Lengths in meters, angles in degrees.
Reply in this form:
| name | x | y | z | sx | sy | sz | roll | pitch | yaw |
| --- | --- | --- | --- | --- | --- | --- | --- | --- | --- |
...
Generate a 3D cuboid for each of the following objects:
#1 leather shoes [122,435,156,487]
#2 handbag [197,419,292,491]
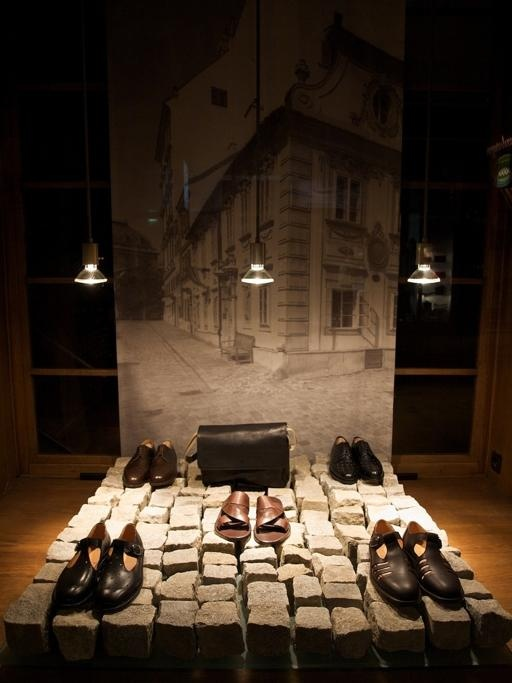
| name | x | y | z | sx | sy | sz | roll | pitch | yaw |
| --- | --- | --- | --- | --- | --- | --- | --- | --- | --- |
| leather shoes | -0.624 | 0.656 | 2.712 | 0.144 | 0.147 | 0.274 | -1 | 12 | -4 |
| handbag | -0.047 | 0.500 | 2.721 | 0.520 | 0.379 | 0.297 | 0 | -13 | 0 |
